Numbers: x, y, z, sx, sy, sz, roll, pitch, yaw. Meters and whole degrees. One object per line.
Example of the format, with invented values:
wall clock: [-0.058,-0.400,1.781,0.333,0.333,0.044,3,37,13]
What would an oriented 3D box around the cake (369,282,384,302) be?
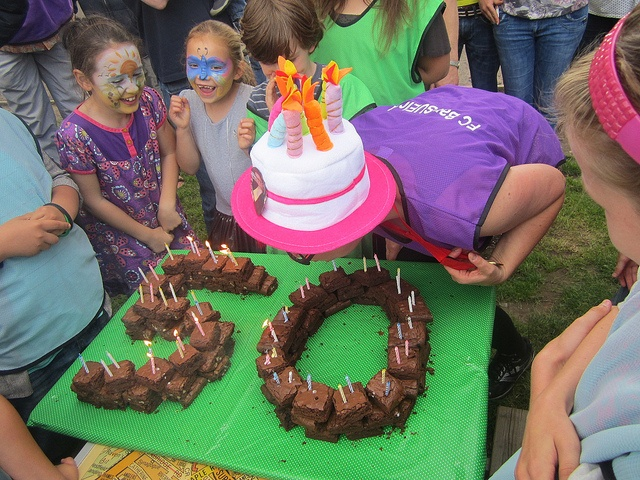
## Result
cake: [0.427,0.401,3.507,0.110,0.030,0.115,-31,78,-16]

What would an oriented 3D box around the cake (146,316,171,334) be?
cake: [-1.247,0.623,3.558,0.110,0.080,0.149,-10,19,-37]

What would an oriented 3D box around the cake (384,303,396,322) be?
cake: [0.521,0.541,3.415,0.027,0.119,0.106,-7,-4,-21]

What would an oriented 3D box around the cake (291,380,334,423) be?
cake: [-0.052,1.009,2.884,0.185,0.079,0.213,8,41,13]

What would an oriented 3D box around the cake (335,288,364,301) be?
cake: [0.226,0.409,3.544,0.142,0.044,0.121,-17,28,-2]

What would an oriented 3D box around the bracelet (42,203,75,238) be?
bracelet: [-1.942,-0.189,3.509,0.063,0.237,0.230,-36,9,-21]

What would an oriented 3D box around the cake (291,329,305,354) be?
cake: [-0.147,0.739,3.334,0.034,0.132,0.127,23,7,-1]

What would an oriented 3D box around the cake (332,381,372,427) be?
cake: [0.199,1.018,2.880,0.230,0.142,0.227,-9,39,-3]

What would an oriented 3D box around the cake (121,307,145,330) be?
cake: [-1.456,0.618,3.603,0.130,0.097,0.143,19,46,21]

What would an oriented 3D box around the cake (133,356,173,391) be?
cake: [-1.144,0.913,3.186,0.209,0.088,0.228,23,46,21]

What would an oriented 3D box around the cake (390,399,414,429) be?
cake: [0.521,1.081,2.888,0.103,0.047,0.162,2,60,51]

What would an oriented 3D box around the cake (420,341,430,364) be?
cake: [0.718,0.780,3.143,0.025,0.123,0.115,4,16,23]

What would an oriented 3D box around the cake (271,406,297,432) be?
cake: [-0.225,1.146,2.949,0.124,0.039,0.137,-31,71,12]

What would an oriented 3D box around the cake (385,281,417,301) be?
cake: [0.580,0.368,3.424,0.136,0.040,0.151,1,30,4]

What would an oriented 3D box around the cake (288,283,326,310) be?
cake: [-0.072,0.426,3.488,0.195,0.085,0.194,24,47,36]

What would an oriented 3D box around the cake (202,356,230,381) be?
cake: [-0.734,0.912,3.272,0.149,0.060,0.155,-1,42,38]

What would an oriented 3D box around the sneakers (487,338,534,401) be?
sneakers: [1.618,1.110,3.937,0.271,0.645,0.202,11,21,-50]

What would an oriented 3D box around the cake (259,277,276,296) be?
cake: [-0.417,0.365,3.695,0.107,0.079,0.162,16,53,17]

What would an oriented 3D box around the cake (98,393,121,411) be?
cake: [-1.445,1.117,3.176,0.099,0.114,0.062,2,30,6]
